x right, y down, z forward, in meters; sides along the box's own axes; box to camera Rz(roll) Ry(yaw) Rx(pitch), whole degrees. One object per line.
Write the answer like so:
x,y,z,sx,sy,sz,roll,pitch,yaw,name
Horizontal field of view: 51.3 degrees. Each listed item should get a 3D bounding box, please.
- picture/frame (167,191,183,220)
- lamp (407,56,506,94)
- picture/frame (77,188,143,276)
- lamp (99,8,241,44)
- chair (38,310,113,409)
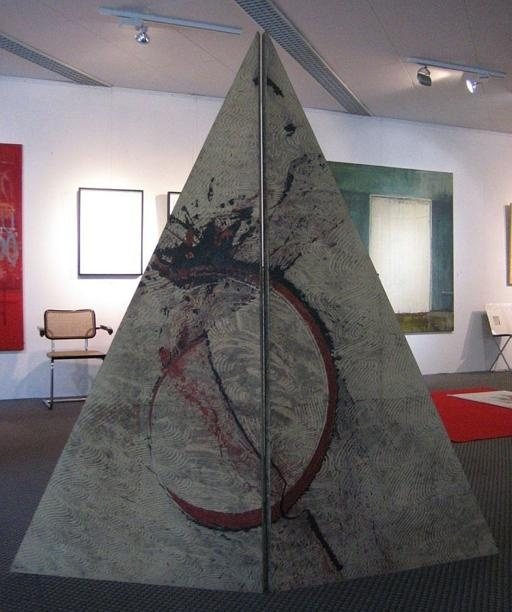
-0.762,-0.945,4.882,0.107,0.218,0.231,-1,5,-8,picture/frame
1.697,-2.002,4.688,1.031,0.138,0.401,-2,5,-16,lamp
-1.294,-0.660,4.769,0.582,0.774,0.012,1,3,-5,picture/frame
-0.624,-1.968,3.816,0.960,0.127,0.294,-2,6,-18,lamp
-1.464,0.407,4.302,0.595,0.763,0.637,-1,-2,15,chair
